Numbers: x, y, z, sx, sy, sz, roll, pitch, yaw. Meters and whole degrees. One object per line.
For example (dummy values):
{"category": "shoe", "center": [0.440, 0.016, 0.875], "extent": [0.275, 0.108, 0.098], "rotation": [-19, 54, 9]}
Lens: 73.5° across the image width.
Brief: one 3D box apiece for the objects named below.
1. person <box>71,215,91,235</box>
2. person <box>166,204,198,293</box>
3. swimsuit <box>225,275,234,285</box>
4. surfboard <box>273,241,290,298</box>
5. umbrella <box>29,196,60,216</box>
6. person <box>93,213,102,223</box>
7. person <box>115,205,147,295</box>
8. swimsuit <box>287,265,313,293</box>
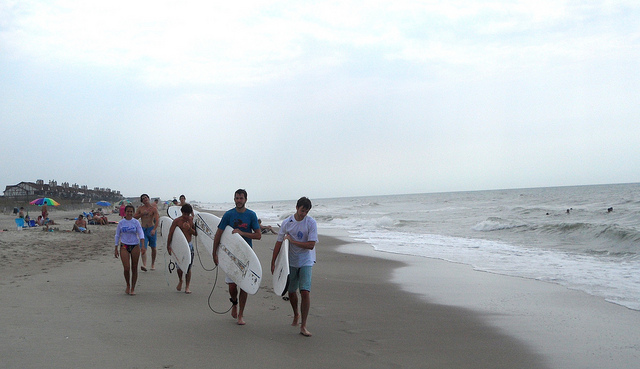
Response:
{"category": "person", "center": [-11.591, 1.997, 20.703], "extent": [0.848, 0.621, 1.255], "rotation": [8, -8, -34]}
{"category": "person", "center": [-3.452, 1.603, 10.709], "extent": [0.705, 2.274, 1.148], "rotation": [-4, 0, -20]}
{"category": "swimsuit", "center": [-1.942, 2.006, 9.068], "extent": [0.104, 0.193, 0.294], "rotation": [-4, 0, -36]}
{"category": "surfboard", "center": [-0.794, 1.728, 8.806], "extent": [0.180, 0.419, 1.564], "rotation": [-6, -30, -17]}
{"category": "umbrella", "center": [-23.655, 1.935, 36.569], "extent": [1.850, 1.123, 1.686], "rotation": [3, -7, -10]}
{"category": "person", "center": [-13.124, 2.026, 25.173], "extent": [0.392, 0.555, 0.712], "rotation": [-4, 0, -35]}
{"category": "person", "center": [-4.515, 1.546, 10.218], "extent": [0.646, 2.256, 0.481], "rotation": [-3, 1, 39]}
{"category": "swimsuit", "center": [-0.471, 1.880, 8.737], "extent": [0.572, 0.680, 0.279], "rotation": [-1, 19, -9]}
